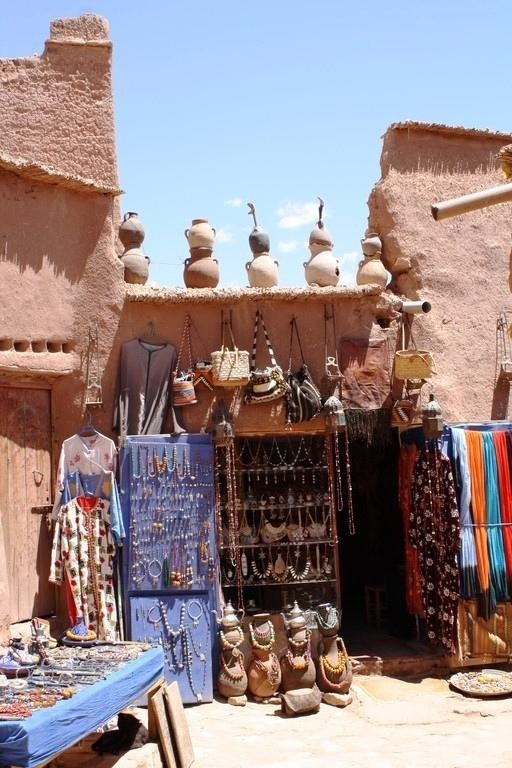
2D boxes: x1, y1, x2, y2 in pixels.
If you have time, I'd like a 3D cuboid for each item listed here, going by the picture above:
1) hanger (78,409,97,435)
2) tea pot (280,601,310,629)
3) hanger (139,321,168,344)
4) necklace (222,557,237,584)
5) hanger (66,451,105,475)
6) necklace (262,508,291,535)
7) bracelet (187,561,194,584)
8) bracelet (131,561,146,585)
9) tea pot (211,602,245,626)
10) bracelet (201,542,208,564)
[{"bbox_3d":[-1.539,0.351,7.518,0.207,0.238,0.011,-2,-1,11],"label":"hanger"},{"bbox_3d":[0.354,2.109,7.582,0.258,0.309,0.270,-1,-14,0],"label":"tea pot"},{"bbox_3d":[-0.974,-0.458,7.849,0.220,0.226,0.084,5,-33,-12],"label":"hanger"},{"bbox_3d":[-0.267,1.786,7.958,0.116,0.240,0.048,-3,-9,-4],"label":"necklace"},{"bbox_3d":[-1.495,0.717,7.334,0.339,0.193,0.050,10,-2,-12],"label":"hanger"},{"bbox_3d":[0.199,1.355,8.154,0.238,0.278,0.031,1,-2,7],"label":"necklace"},{"bbox_3d":[-0.593,1.695,7.467,0.081,0.192,0.041,9,-2,0],"label":"bracelet"},{"bbox_3d":[-1.035,1.668,7.326,0.132,0.186,0.024,10,-2,-9],"label":"bracelet"},{"bbox_3d":[-0.228,2.101,7.560,0.305,0.253,0.177,8,-16,-18],"label":"tea pot"},{"bbox_3d":[-0.467,1.533,7.540,0.084,0.180,0.035,9,-2,-3],"label":"bracelet"}]
